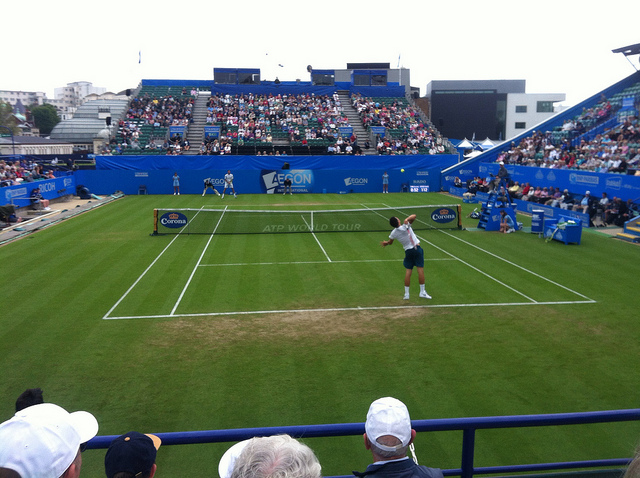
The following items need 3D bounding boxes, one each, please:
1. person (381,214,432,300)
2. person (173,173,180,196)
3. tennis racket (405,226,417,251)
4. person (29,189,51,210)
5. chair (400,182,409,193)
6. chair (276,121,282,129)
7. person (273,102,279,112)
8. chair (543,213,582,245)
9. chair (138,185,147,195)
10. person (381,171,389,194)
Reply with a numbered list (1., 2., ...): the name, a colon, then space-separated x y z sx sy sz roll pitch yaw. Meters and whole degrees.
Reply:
1. person: 2.428 0.463 13.977 1.278 2.252 1.040 1 16 6
2. person: -10.802 -4.130 38.099 0.513 1.647 0.909 -5 17 -15
3. tennis racket: 2.447 0.013 13.521 0.142 0.533 0.424 -39 2 13
4. person: -16.423 -2.310 29.772 0.619 1.149 0.873 -1 16 -2
5. chair: 6.780 -4.202 41.052 0.703 0.740 0.651 0 4 3
6. chair: -4.020 -11.168 49.816 0.551 0.709 1.081 -1 14 -4
7. person: -4.400 -13.808 53.098 1.011 0.786 1.198 -1 8 -9
8. chair: 10.207 -0.571 21.528 1.784 1.075 0.874 11 12 6
9. chair: -13.487 -3.801 38.863 0.705 0.514 0.500 0 6 -6
10. person: 5.168 -4.523 40.336 0.589 1.674 1.068 2 16 8
